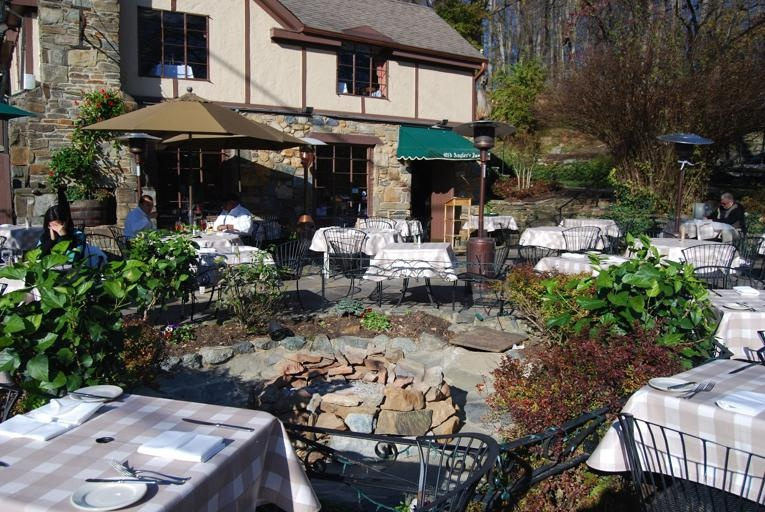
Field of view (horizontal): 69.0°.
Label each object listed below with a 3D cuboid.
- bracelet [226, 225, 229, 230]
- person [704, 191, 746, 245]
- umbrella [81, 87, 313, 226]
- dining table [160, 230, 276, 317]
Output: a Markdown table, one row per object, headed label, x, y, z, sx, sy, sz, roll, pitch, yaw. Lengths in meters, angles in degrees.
| label | x | y | z | sx | sy | sz | roll | pitch | yaw |
| --- | --- | --- | --- | --- | --- | --- | --- | --- | --- |
| bracelet | -2.950 | -0.531 | 10.672 | 0.061 | 0.077 | 0.024 | -3 | -14 | 5 |
| person | 6.985 | -0.734 | 11.420 | 0.784 | 1.014 | 0.858 | 0 | 12 | -5 |
| umbrella | -3.585 | -2.028 | 10.987 | 4.100 | 2.018 | 4.684 | 0 | 9 | -4 |
| dining table | -2.295 | 0.162 | 7.947 | 1.308 | 0.535 | 1.290 | -6 | 13 | -36 |
